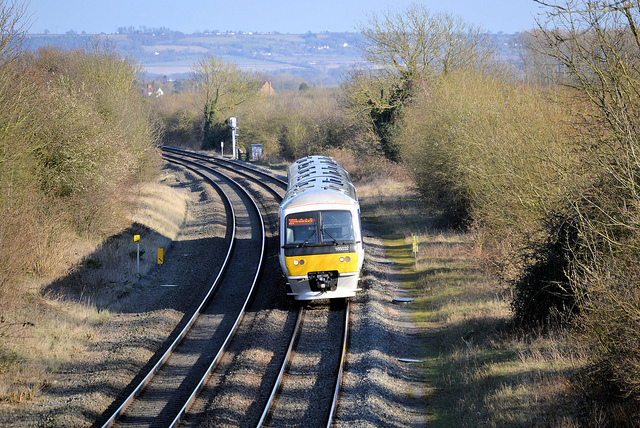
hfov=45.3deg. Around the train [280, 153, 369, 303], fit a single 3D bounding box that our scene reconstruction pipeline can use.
[{"bbox_3d":[0.035,0.915,32.372,3.336,5.301,5.331,-1,5,-2],"label":"train"}]
